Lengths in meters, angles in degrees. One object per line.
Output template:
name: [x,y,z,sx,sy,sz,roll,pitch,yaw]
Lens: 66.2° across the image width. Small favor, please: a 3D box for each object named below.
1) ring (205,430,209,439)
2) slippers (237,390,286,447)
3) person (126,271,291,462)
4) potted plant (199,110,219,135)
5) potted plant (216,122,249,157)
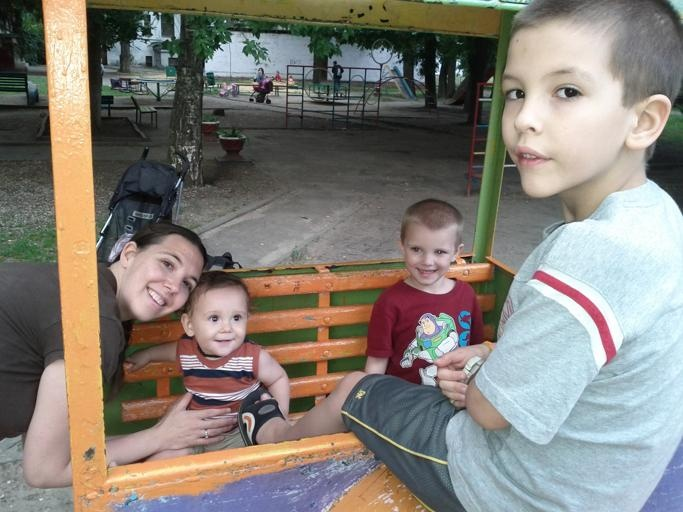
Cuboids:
ring: [-0.569,0.758,2.205,0.022,0.027,0.031,-3,6,-10]
slippers: [-0.346,0.669,2.170,0.128,0.276,0.106,12,-31,-28]
person: [-0.580,0.527,2.404,0.653,0.847,0.760,-10,27,-40]
potted plant: [-3.589,-3.549,14.249,0.402,0.526,0.490,0,19,-10]
potted plant: [-2.522,-2.699,12.130,0.911,0.558,0.840,1,16,-5]
